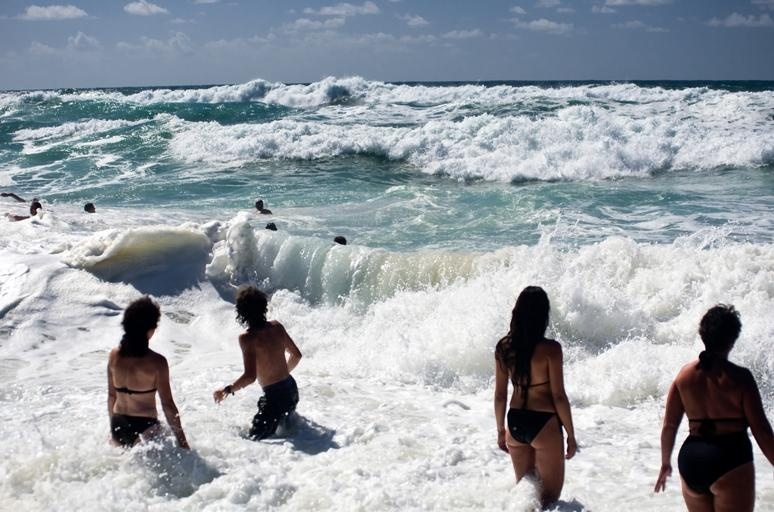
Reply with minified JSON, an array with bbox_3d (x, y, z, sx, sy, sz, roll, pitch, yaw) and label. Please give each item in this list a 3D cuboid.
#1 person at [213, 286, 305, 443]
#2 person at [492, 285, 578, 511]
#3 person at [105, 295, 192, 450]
[{"bbox_3d":[-1.742,1.525,11.056,1.021,2.177,0.499,-2,12,-10],"label":"person"},{"bbox_3d":[1.861,1.794,9.949,1.028,2.821,0.459,2,12,13],"label":"person"},{"bbox_3d":[-3.229,1.602,10.467,0.922,2.054,0.320,-4,12,-16],"label":"person"}]
